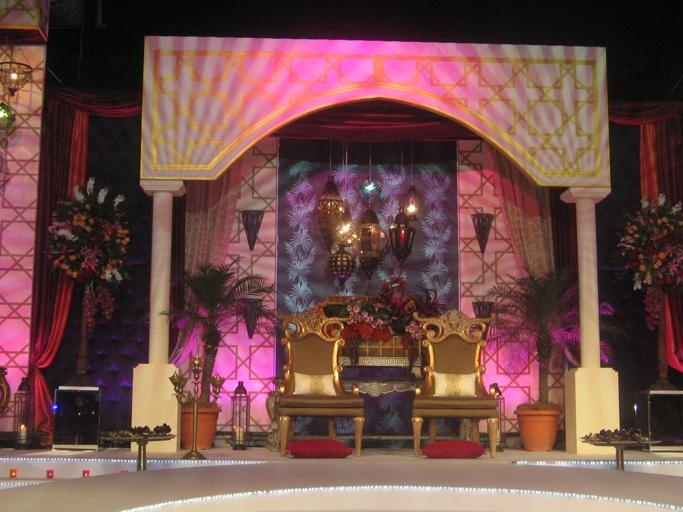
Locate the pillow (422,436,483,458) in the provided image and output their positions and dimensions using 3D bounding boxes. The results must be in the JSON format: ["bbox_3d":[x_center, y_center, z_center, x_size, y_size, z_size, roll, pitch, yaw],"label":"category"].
[{"bbox_3d":[1.254,2.128,13.906,0.595,0.169,0.256,-1,-7,2],"label":"pillow"}]

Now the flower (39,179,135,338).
[{"bbox_3d":[-3.200,-0.060,15.670,1.063,1.935,0.781,8,-14,-30],"label":"flower"}]

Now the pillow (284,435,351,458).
[{"bbox_3d":[-0.263,2.145,13.936,0.704,0.233,0.414,1,-12,-3],"label":"pillow"}]

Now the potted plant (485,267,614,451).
[{"bbox_3d":[2.715,1.228,15.969,1.646,2.185,1.537,0,-12,1],"label":"potted plant"}]

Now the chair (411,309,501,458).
[{"bbox_3d":[1.322,1.485,14.687,0.966,1.758,0.917,0,-12,3],"label":"chair"}]

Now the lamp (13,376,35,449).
[{"bbox_3d":[-3.993,1.956,15.557,0.238,0.868,0.436,5,-13,-18],"label":"lamp"}]

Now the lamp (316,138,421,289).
[{"bbox_3d":[0.314,-0.635,16.238,1.289,2.027,1.232,0,-12,0],"label":"lamp"}]

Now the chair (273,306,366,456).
[{"bbox_3d":[-0.285,1.439,14.597,0.985,1.787,1.066,1,-12,-4],"label":"chair"}]
